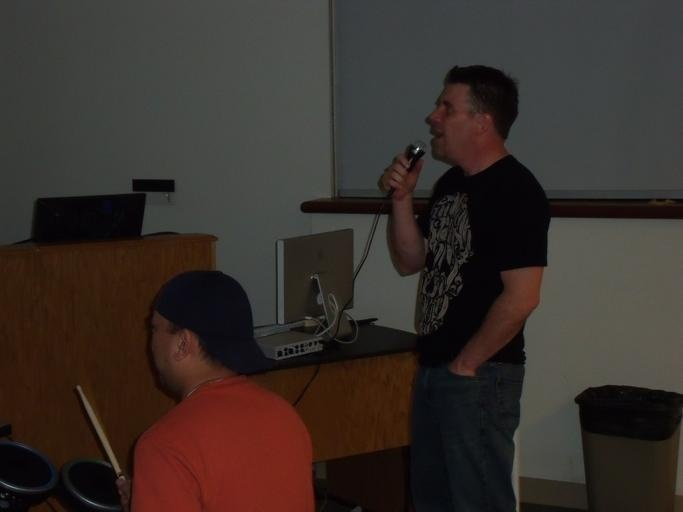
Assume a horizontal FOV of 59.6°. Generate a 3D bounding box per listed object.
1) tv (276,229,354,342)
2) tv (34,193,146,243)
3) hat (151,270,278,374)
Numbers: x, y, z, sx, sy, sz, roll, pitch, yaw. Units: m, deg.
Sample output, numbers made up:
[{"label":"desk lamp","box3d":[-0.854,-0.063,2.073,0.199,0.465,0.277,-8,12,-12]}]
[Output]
[{"label":"tv","box3d":[-0.127,0.154,2.809,0.137,0.429,0.422,12,16,37]},{"label":"tv","box3d":[-0.916,-0.136,2.163,0.364,0.176,0.078,-1,10,-38]},{"label":"hat","box3d":[-0.318,0.125,1.570,0.298,0.199,0.199,27,6,6]}]
